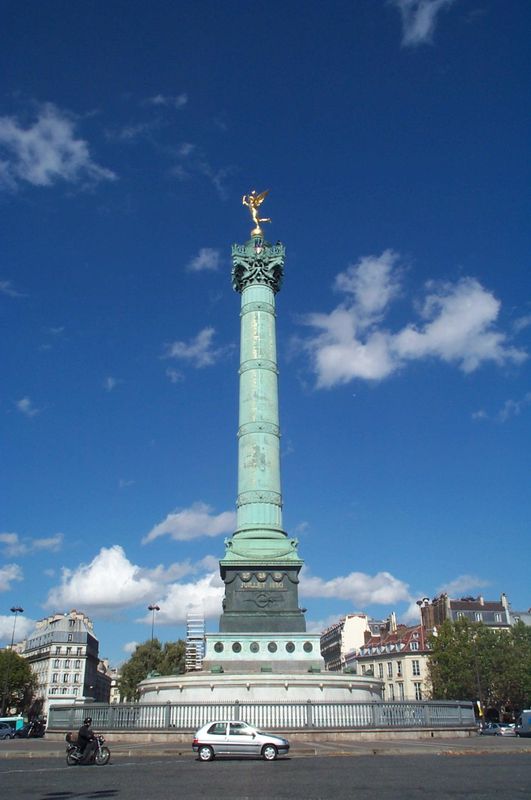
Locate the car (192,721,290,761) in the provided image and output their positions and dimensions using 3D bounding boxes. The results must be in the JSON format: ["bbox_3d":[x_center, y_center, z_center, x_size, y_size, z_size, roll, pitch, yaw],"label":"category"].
[{"bbox_3d":[-0.770,10.863,24.180,2.559,0.939,1.245,-3,-43,1],"label":"car"}]

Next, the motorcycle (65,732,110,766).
[{"bbox_3d":[-5.312,10.542,22.913,1.253,0.811,1.071,-1,-19,-6],"label":"motorcycle"}]
